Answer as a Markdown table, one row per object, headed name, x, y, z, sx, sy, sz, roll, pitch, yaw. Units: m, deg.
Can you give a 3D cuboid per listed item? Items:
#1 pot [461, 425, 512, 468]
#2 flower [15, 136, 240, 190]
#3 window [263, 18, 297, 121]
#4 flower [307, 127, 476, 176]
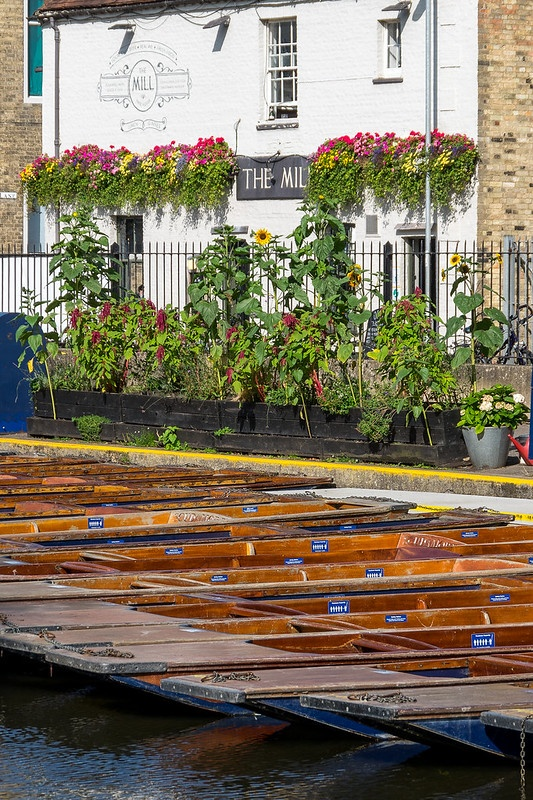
| name | x | y | z | sx | sy | sz | roll | pitch | yaw |
| --- | --- | --- | --- | --- | --- | --- | --- | --- | --- |
| pot | 1.785 | 0.386 | 17.339 | 0.293 | 0.285 | 0.323 | 0 | -1 | -14 |
| flower | -1.661 | -3.026 | 27.725 | 3.343 | 0.789 | 0.743 | 0 | 8 | 31 |
| window | 0.219 | -4.065 | 26.479 | 0.421 | 1.218 | 0.081 | -6 | 31 | -5 |
| flower | 1.334 | -2.854 | 24.688 | 1.195 | 0.313 | 0.691 | 2 | 10 | 45 |
